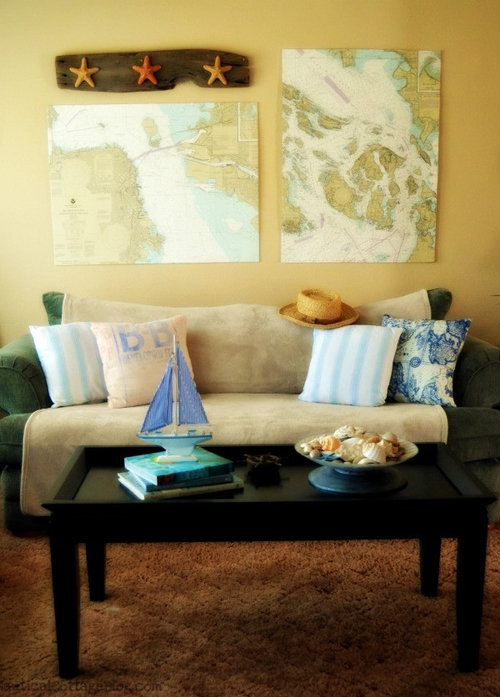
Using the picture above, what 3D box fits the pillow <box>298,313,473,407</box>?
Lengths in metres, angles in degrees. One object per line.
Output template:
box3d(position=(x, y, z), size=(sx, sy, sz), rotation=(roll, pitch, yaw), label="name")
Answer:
box3d(position=(0.563, 0.057, 2.652), size=(0.493, 0.446, 0.138), rotation=(4, -26, 27), label="pillow")

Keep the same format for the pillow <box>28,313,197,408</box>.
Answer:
box3d(position=(-0.608, 0.043, 2.627), size=(0.510, 0.440, 0.141), rotation=(-10, -10, -20), label="pillow")
